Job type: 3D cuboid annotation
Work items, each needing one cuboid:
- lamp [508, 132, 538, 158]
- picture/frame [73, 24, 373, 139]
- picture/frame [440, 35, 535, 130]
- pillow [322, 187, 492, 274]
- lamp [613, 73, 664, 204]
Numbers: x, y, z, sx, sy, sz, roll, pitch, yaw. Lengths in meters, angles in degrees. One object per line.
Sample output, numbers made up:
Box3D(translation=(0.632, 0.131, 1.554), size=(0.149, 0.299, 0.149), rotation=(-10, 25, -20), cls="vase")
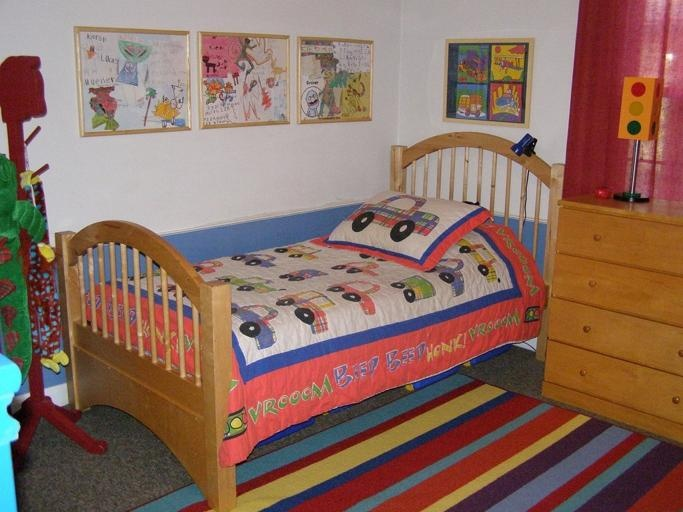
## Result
Box3D(translation=(1.283, -0.780, 3.735), size=(0.165, 0.166, 0.065), rotation=(45, 11, -2), cls="lamp")
Box3D(translation=(-0.685, -1.159, 3.498), size=(2.018, 0.676, 0.151), rotation=(-10, 20, -33), cls="picture/frame")
Box3D(translation=(1.090, -1.285, 3.854), size=(0.721, 0.589, 0.027), rotation=(15, 21, 37), cls="picture/frame")
Box3D(translation=(0.375, -0.195, 3.539), size=(0.679, 0.164, 0.660), rotation=(12, 42, 46), cls="pillow")
Box3D(translation=(1.686, -0.662, 2.994), size=(0.230, 0.674, 0.379), rotation=(13, 21, 36), cls="lamp")
